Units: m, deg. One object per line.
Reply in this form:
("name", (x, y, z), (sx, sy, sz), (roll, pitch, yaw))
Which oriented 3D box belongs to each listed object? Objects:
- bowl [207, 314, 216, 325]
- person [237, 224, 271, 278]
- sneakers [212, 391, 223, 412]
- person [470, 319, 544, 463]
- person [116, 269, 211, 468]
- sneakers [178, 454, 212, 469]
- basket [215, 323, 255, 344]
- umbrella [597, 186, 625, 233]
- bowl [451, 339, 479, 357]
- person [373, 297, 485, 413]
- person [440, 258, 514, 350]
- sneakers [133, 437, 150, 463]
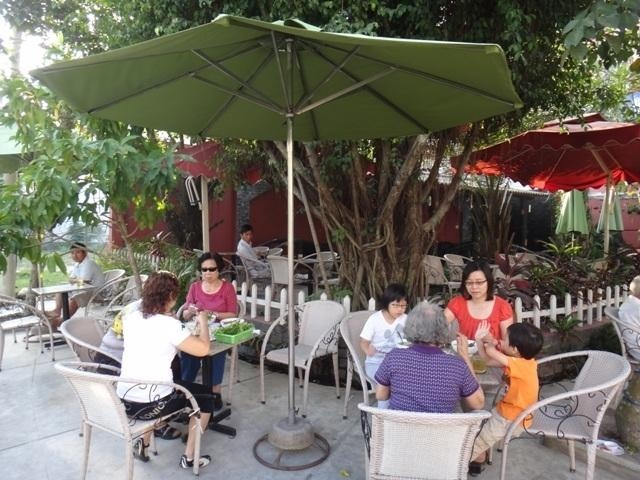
("bowl", (-1.106, 0.816, 5.349), (0.077, 0.063, 0.079), (0, -6, 0))
("person", (-1.101, 0.142, 8.993), (0.595, 0.856, 0.525), (0, 24, 10))
("sneakers", (-1.058, 1.666, 5.443), (0.100, 0.148, 0.342), (-3, -24, -3))
("person", (1.555, 1.331, 4.409), (0.541, 1.316, 0.500), (1, 2, 18))
("person", (-1.329, 1.155, 4.540), (0.787, 1.747, 0.551), (0, 2, -23))
("sneakers", (-1.110, 1.974, 4.672), (0.223, 0.098, 0.126), (-1, 4, -23))
("basket", (-0.794, 0.884, 5.002), (0.177, 0.085, 0.272), (2, 1, 37))
("umbrella", (5.859, -0.606, 10.623), (0.436, 0.879, 0.397), (9, 34, 39))
("bowl", (1.255, 0.940, 4.555), (0.171, 0.083, 0.181), (-1, 4, 0))
("person", (0.841, 1.060, 4.095), (0.762, 1.142, 0.602), (1, 8, -3))
("person", (1.506, 0.595, 4.980), (0.637, 1.012, 0.694), (-1, -1, 35))
("sneakers", (-1.636, 1.925, 4.818), (0.108, 0.308, 0.105), (-4, -2, 12))
